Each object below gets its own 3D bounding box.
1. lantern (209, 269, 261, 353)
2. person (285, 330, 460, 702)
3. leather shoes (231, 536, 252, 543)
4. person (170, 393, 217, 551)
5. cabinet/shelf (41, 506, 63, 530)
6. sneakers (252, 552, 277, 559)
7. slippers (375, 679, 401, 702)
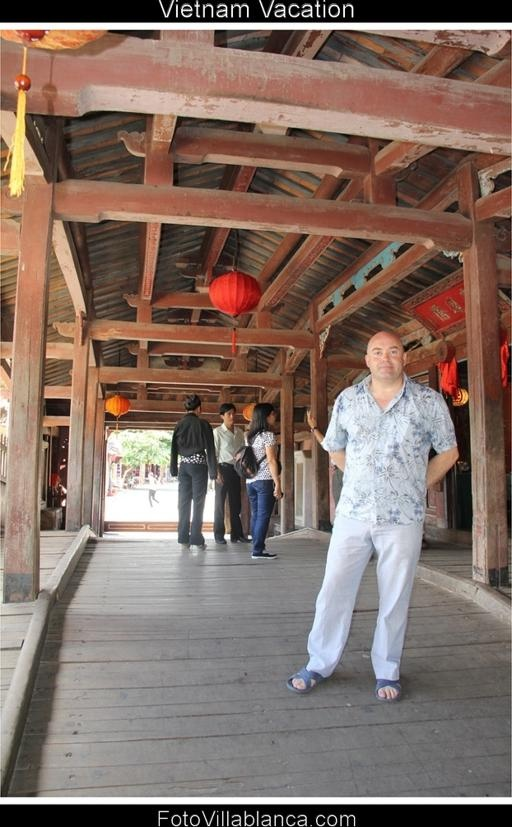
[{"bbox_3d":[-0.187,-1.118,5.369,0.441,0.443,0.355,2,-4,-4],"label":"lantern"},{"bbox_3d":[0.452,0.383,2.275,0.592,1.369,0.232,0,-4,19],"label":"person"},{"bbox_3d":[-0.147,1.315,6.083,0.212,0.090,0.071,-3,-9,3],"label":"leather shoes"},{"bbox_3d":[-0.564,0.582,5.239,0.385,1.276,0.370,2,-4,-8],"label":"person"},{"bbox_3d":[-3.352,1.775,9.645,0.290,0.382,0.964,3,-4,-20],"label":"cabinet/shelf"},{"bbox_3d":[0.075,1.186,4.906,0.186,0.072,0.072,2,-11,-5],"label":"sneakers"},{"bbox_3d":[0.493,1.036,2.193,0.092,0.066,0.074,1,-4,7],"label":"slippers"}]
